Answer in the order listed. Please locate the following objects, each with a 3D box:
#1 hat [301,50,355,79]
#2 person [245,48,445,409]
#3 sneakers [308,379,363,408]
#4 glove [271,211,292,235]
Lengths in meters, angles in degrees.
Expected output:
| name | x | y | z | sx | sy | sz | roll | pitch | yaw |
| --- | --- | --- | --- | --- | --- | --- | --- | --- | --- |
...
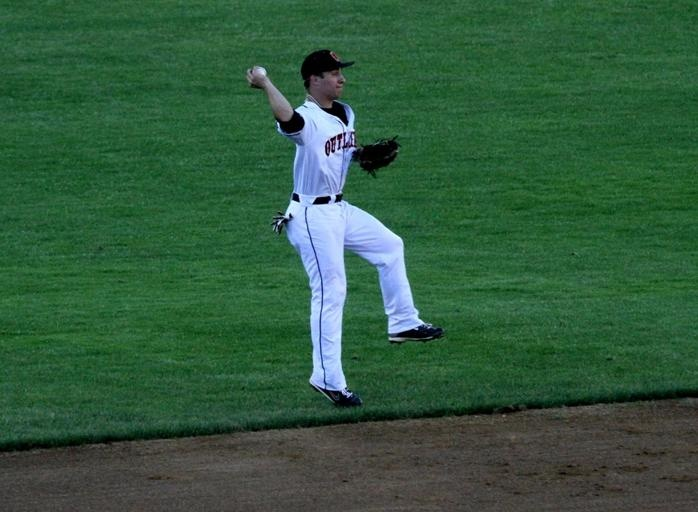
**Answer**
| name | x | y | z | sx | sy | sz | roll | pitch | yaw |
| --- | --- | --- | --- | --- | --- | --- | --- | --- | --- |
| hat | -0.248 | -1.671 | 14.461 | 0.474 | 0.195 | 0.264 | -12 | 11 | 3 |
| person | -0.098 | -0.234 | 14.488 | 1.189 | 3.037 | 0.915 | -12 | 18 | -31 |
| sneakers | -0.144 | 1.232 | 14.490 | 0.457 | 0.184 | 0.206 | 5 | 16 | 25 |
| glove | -0.591 | -0.252 | 14.617 | 0.083 | 0.209 | 0.237 | 8 | -23 | -37 |
